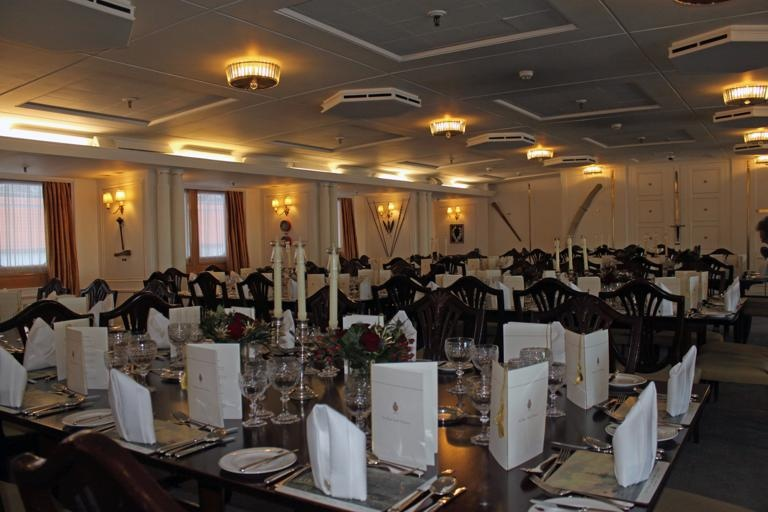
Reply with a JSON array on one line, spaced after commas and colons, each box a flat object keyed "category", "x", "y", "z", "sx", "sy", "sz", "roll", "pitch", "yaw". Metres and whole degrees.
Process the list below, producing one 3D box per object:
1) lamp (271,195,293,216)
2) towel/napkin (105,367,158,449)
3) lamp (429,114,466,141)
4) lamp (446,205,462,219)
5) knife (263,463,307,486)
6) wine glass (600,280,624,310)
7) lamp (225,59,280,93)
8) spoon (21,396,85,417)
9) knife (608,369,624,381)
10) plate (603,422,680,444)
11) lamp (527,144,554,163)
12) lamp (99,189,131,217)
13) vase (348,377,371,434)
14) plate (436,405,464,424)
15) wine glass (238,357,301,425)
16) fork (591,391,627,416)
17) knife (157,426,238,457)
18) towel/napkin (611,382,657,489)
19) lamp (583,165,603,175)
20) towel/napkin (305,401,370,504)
[{"category": "lamp", "x": -2.496, "y": -1.253, "z": 13.667, "sx": 0.540, "sy": 0.439, "sz": 0.251, "roll": -5, "pitch": -7, "yaw": 41}, {"category": "towel/napkin", "x": -1.147, "y": 0.697, "z": 2.506, "sx": 0.282, "sy": 0.361, "sz": 0.062, "roll": 11, "pitch": 23, "yaw": 36}, {"category": "lamp", "x": 1.038, "y": -2.103, "z": 8.994, "sx": 0.608, "sy": 0.294, "sz": 0.550, "roll": 1, "pitch": 9, "yaw": 5}, {"category": "lamp", "x": 2.336, "y": -1.485, "z": 18.536, "sx": 0.469, "sy": 0.426, "sz": 0.141, "roll": -1, "pitch": 0, "yaw": 31}, {"category": "knife", "x": -0.390, "y": 0.868, "z": 2.214, "sx": 0.054, "sy": 0.022, "sz": 0.216, "roll": 16, "pitch": 19, "yaw": 35}, {"category": "wine glass", "x": 2.017, "y": 0.342, "z": 4.890, "sx": 0.252, "sy": 0.262, "sz": 0.251, "roll": -2, "pitch": -1, "yaw": -10}, {"category": "lamp", "x": -1.455, "y": -2.014, "z": 6.142, "sx": 0.390, "sy": 0.183, "sz": 0.391, "roll": 3, "pitch": 7, "yaw": 35}, {"category": "spoon", "x": -1.683, "y": 0.750, "z": 2.839, "sx": 0.094, "sy": 0.028, "sz": 0.190, "roll": 11, "pitch": 11, "yaw": 41}, {"category": "knife", "x": 1.315, "y": 0.683, "z": 3.149, "sx": 0.077, "sy": 0.026, "sz": 0.077, "roll": -2, "pitch": 4, "yaw": 30}, {"category": "plate", "x": 1.056, "y": 0.728, "z": 2.273, "sx": 0.233, "sy": 0.042, "sz": 0.166, "roll": 1, "pitch": 6, "yaw": 23}, {"category": "lamp", "x": 3.238, "y": -2.151, "z": 11.638, "sx": 0.451, "sy": 0.202, "sz": 0.443, "roll": 0, "pitch": 2, "yaw": 6}, {"category": "lamp", "x": -5.360, "y": -1.069, "z": 11.091, "sx": 0.620, "sy": 0.539, "sz": 0.312, "roll": -1, "pitch": -6, "yaw": 35}, {"category": "vase", "x": -0.099, "y": 0.611, "z": 2.447, "sx": 0.119, "sy": 0.328, "sz": 0.117, "roll": -2, "pitch": 8, "yaw": -8}, {"category": "plate", "x": 0.310, "y": 0.753, "z": 2.627, "sx": 0.174, "sy": 0.029, "sz": 0.170, "roll": 1, "pitch": 17, "yaw": 6}, {"category": "wine glass", "x": -0.545, "y": 0.634, "z": 2.716, "sx": 0.315, "sy": 0.305, "sz": 0.301, "roll": 3, "pitch": -4, "yaw": -39}, {"category": "fork", "x": 1.146, "y": 0.725, "z": 2.806, "sx": 0.078, "sy": 0.054, "sz": 0.268, "roll": 2, "pitch": 6, "yaw": 30}, {"category": "knife", "x": -0.828, "y": 0.827, "z": 2.430, "sx": 0.106, "sy": 0.035, "sz": 0.317, "roll": 13, "pitch": 16, "yaw": 41}, {"category": "towel/napkin", "x": 1.008, "y": 0.739, "z": 2.237, "sx": 0.093, "sy": 0.319, "sz": 0.299, "roll": 13, "pitch": 22, "yaw": 41}, {"category": "lamp", "x": 5.921, "y": -2.445, "z": 15.751, "sx": 0.501, "sy": 0.277, "sz": 0.705, "roll": 3, "pitch": 10, "yaw": 17}, {"category": "towel/napkin", "x": -0.179, "y": 0.757, "z": 2.097, "sx": 0.328, "sy": 0.416, "sz": 0.111, "roll": 6, "pitch": 18, "yaw": 28}]
